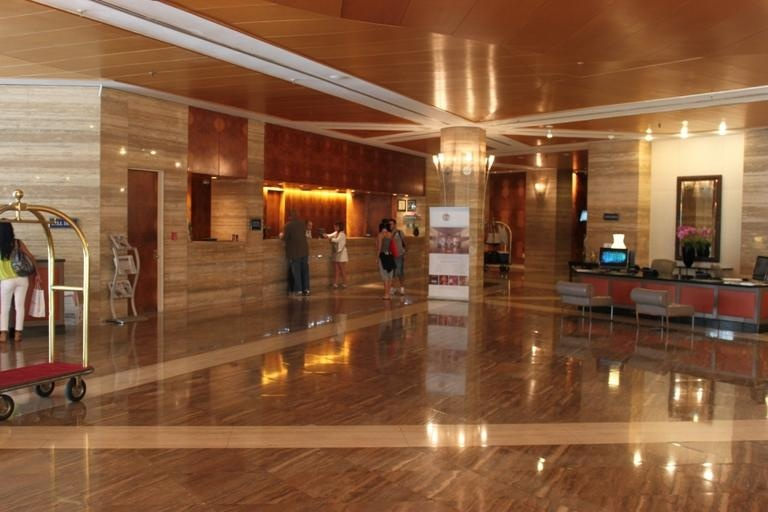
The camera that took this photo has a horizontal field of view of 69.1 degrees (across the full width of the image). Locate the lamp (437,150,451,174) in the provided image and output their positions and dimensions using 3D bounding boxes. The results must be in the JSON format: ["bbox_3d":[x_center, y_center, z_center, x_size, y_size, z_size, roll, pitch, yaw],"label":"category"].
[{"bbox_3d":[1.553,-2.379,14.217,0.204,0.528,0.546,-2,10,-22],"label":"lamp"}]

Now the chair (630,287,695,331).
[{"bbox_3d":[5.646,1.082,11.256,1.159,0.676,1.186,3,-3,36],"label":"chair"}]

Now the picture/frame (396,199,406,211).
[{"bbox_3d":[0.591,-1.749,19.017,0.060,0.357,0.446,2,4,35],"label":"picture/frame"}]

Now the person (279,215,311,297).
[{"bbox_3d":[-2.270,-0.067,14.398,0.669,2.118,0.718,0,9,-10],"label":"person"}]

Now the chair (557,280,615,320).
[{"bbox_3d":[4.466,1.000,12.291,1.119,0.713,1.102,2,-2,41],"label":"chair"}]

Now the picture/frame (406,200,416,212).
[{"bbox_3d":[0.956,-1.756,19.404,0.041,0.351,0.410,-11,1,38],"label":"picture/frame"}]

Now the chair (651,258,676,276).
[{"bbox_3d":[6.889,0.263,13.725,0.521,0.661,0.625,1,2,31],"label":"chair"}]

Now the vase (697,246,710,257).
[{"bbox_3d":[7.230,-0.143,12.566,0.205,0.270,0.460,8,11,36],"label":"vase"}]

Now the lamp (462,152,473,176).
[{"bbox_3d":[2.119,-2.323,13.955,0.349,0.434,0.109,6,7,6],"label":"lamp"}]

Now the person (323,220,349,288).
[{"bbox_3d":[-1.369,-0.062,16.024,0.685,1.869,0.952,1,9,-4],"label":"person"}]
